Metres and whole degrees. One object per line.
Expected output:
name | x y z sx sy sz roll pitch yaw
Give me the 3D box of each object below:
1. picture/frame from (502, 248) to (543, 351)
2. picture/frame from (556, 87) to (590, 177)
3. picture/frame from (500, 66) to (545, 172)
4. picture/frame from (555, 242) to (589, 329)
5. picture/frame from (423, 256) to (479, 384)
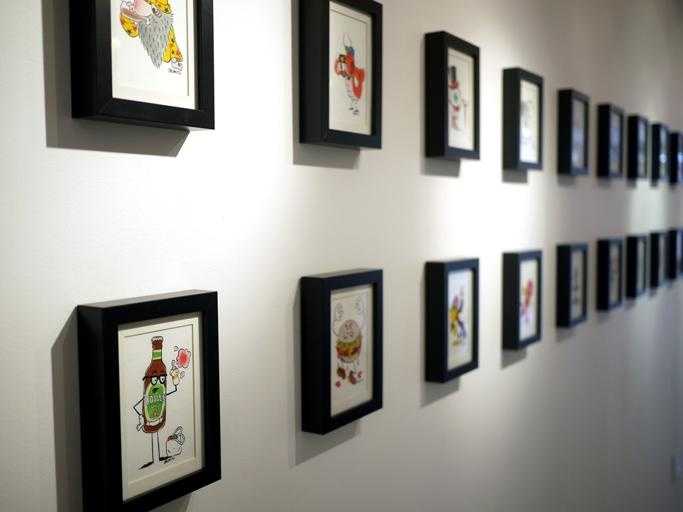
picture/frame | 0.554 0.130 1.822 0.049 0.375 0.269 2 4 30
picture/frame | 0.817 -0.440 2.090 0.057 0.438 0.267 2 5 31
picture/frame | 0.545 -0.418 1.791 0.053 0.421 0.278 2 5 30
picture/frame | 0.827 0.104 2.125 0.046 0.364 0.264 2 3 32
picture/frame | 0.275 0.156 1.513 0.060 0.435 0.266 3 5 36
